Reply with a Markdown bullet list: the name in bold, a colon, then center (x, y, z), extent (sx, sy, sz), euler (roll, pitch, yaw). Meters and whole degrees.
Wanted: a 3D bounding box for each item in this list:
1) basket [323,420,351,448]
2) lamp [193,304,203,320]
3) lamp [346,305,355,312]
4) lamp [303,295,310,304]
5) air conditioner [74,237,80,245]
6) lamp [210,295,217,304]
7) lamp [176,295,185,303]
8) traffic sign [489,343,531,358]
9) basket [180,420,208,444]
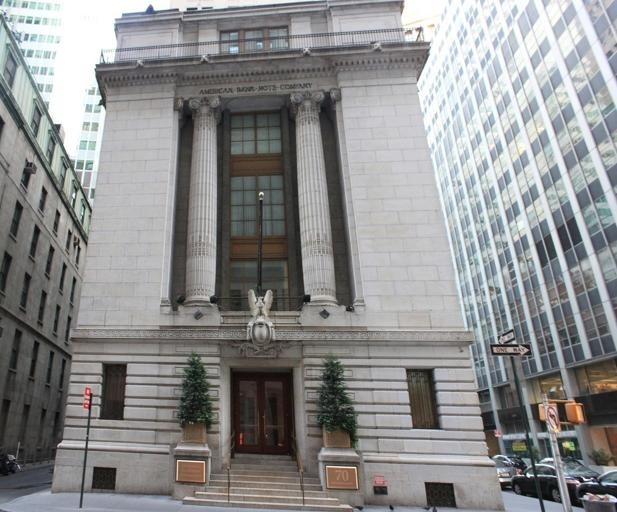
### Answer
- **basket**: center (1.199, 7.632, 17.450), extent (1.475, 0.967, 0.750), euler (2, -41, -1)
- **lamp**: center (-5.272, 2.779, 20.202), extent (0.482, 0.595, 0.129), euler (2, -22, -11)
- **lamp**: center (2.036, 2.579, 20.269), extent (0.411, 0.309, 0.200), euler (-4, -21, 4)
- **lamp**: center (-0.083, 2.157, 20.837), extent (0.392, 0.371, 0.387), euler (-2, -12, 10)
- **air conditioner**: center (-27.240, -1.681, 49.382), extent (0.569, 0.586, 1.003), euler (-2, 11, -12)
- **lamp**: center (-4.746, 2.234, 21.098), extent (0.291, 0.483, 0.561), euler (-2, -21, -1)
- **lamp**: center (-6.401, 2.190, 21.058), extent (0.320, 0.303, 0.394), euler (0, -28, -9)
- **traffic sign**: center (6.347, 2.962, 13.196), extent (1.094, 0.436, 0.856), euler (-11, -22, 24)
- **basket**: center (-4.825, 7.464, 17.907), extent (0.959, 0.882, 0.684), euler (-3, 10, 7)
